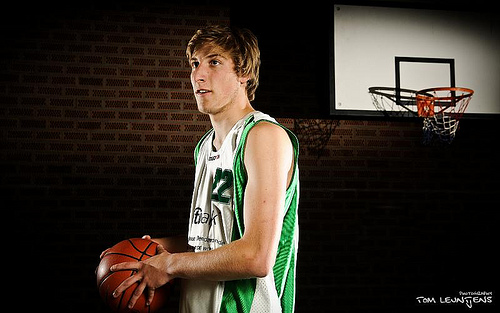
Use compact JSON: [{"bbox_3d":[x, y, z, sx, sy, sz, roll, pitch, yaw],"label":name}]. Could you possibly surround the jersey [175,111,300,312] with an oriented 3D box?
[{"bbox_3d":[-0.103,0.469,3.726,0.969,1.649,0.460,-1,6,19],"label":"jersey"}]
